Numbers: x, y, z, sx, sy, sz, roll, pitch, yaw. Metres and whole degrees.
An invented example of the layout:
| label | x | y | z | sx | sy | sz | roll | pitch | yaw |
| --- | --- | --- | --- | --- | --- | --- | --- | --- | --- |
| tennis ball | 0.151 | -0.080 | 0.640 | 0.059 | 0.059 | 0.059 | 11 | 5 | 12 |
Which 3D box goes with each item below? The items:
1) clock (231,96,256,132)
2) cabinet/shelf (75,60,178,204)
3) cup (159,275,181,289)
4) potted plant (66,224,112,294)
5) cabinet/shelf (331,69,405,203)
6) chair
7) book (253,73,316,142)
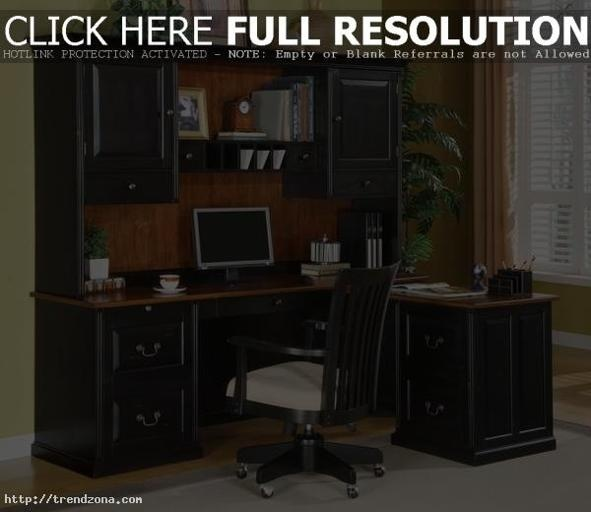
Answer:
| label | x | y | z | sx | sy | sz | roll | pitch | yaw |
| --- | --- | --- | --- | --- | --- | --- | --- | --- | --- |
| clock | -0.312 | -0.837 | 3.591 | 0.137 | 0.205 | 0.045 | -1 | 1 | -34 |
| cabinet/shelf | -0.862 | -0.596 | 3.232 | 0.575 | 0.768 | 0.548 | 2 | -13 | -29 |
| cup | -0.659 | 0.133 | 3.167 | 0.081 | 0.070 | 0.085 | -3 | -2 | 0 |
| potted plant | -1.050 | -0.033 | 3.172 | 0.144 | 0.314 | 0.170 | -11 | 20 | -36 |
| cabinet/shelf | 0.446 | -0.836 | 3.896 | 0.456 | 0.873 | 0.427 | 3 | 27 | 9 |
| chair | 0.060 | 0.540 | 2.809 | 0.693 | 1.048 | 0.709 | 1 | 3 | -29 |
| book | -0.069 | -0.900 | 3.709 | 0.373 | 0.402 | 0.143 | 0 | 1 | 4 |
